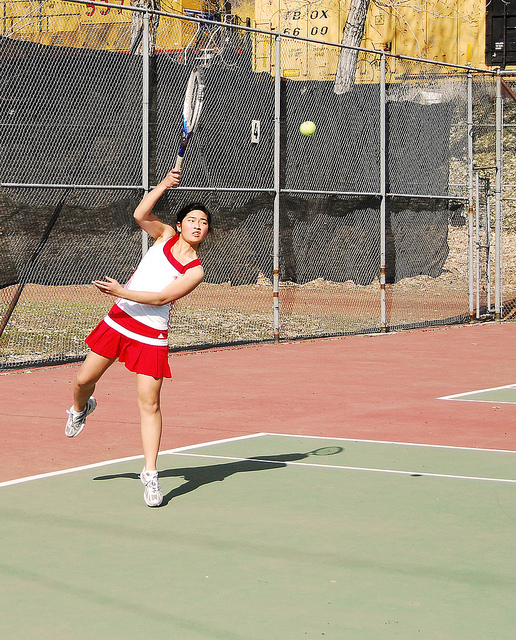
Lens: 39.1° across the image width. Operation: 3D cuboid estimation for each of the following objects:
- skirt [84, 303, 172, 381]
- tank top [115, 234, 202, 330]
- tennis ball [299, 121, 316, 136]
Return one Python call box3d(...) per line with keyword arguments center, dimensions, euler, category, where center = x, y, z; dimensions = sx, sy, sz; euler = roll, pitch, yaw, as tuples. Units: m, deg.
box3d(center=(-0.694, 0.146, 4.257), dimensions=(0.533, 0.285, 0.282), euler=(23, 3, 28), category="skirt")
box3d(center=(-0.593, -0.216, 4.162), dimensions=(0.430, 0.535, 0.430), euler=(-3, 10, -32), category="tank top")
box3d(center=(0.921, -3.513, 13.385), dimensions=(0.311, 0.272, 0.141), euler=(-2, 10, -29), category="tennis ball")
